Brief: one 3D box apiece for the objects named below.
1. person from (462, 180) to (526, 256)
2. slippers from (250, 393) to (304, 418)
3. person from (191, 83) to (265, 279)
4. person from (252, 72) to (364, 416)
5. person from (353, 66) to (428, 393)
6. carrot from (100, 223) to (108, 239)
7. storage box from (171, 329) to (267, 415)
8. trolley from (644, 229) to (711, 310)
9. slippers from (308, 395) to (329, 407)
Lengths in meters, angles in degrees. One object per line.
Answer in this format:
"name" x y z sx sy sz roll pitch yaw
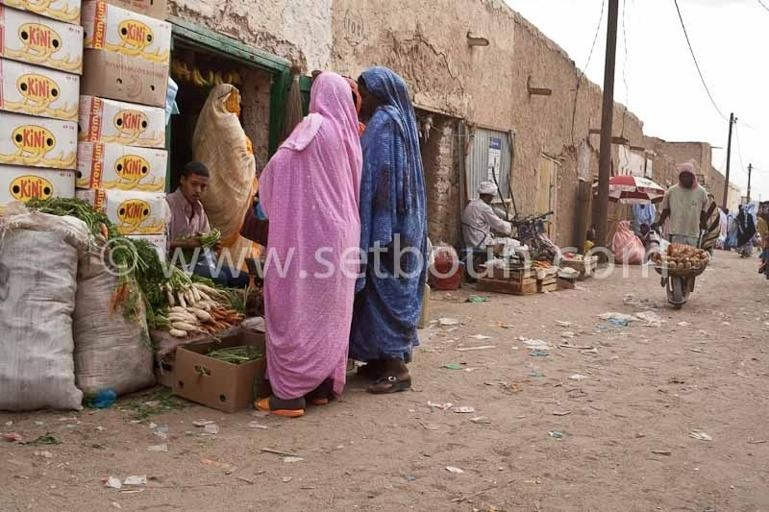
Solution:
"person" 1.864 -0.693 11.502 0.979 1.169 0.785 12 15 34
"slippers" -0.841 1.198 5.214 0.347 0.138 0.165 9 -6 9
"person" -1.718 -0.866 7.573 0.835 2.364 0.942 2 -2 -8
"person" -0.789 -0.074 5.511 1.019 2.549 0.919 1 0 -24
"person" -0.056 -0.193 5.892 0.777 2.683 1.073 2 -2 -21
"carrot" -2.246 -0.198 5.226 0.056 0.043 0.153 23 31 -38
"storage box" -1.278 0.924 5.512 0.709 0.571 0.718 3 2 32
"trolley" 4.416 0.256 9.979 0.727 0.738 1.495 -3 11 20
"slippers" -0.547 1.205 5.395 0.168 0.072 0.065 2 -1 13
